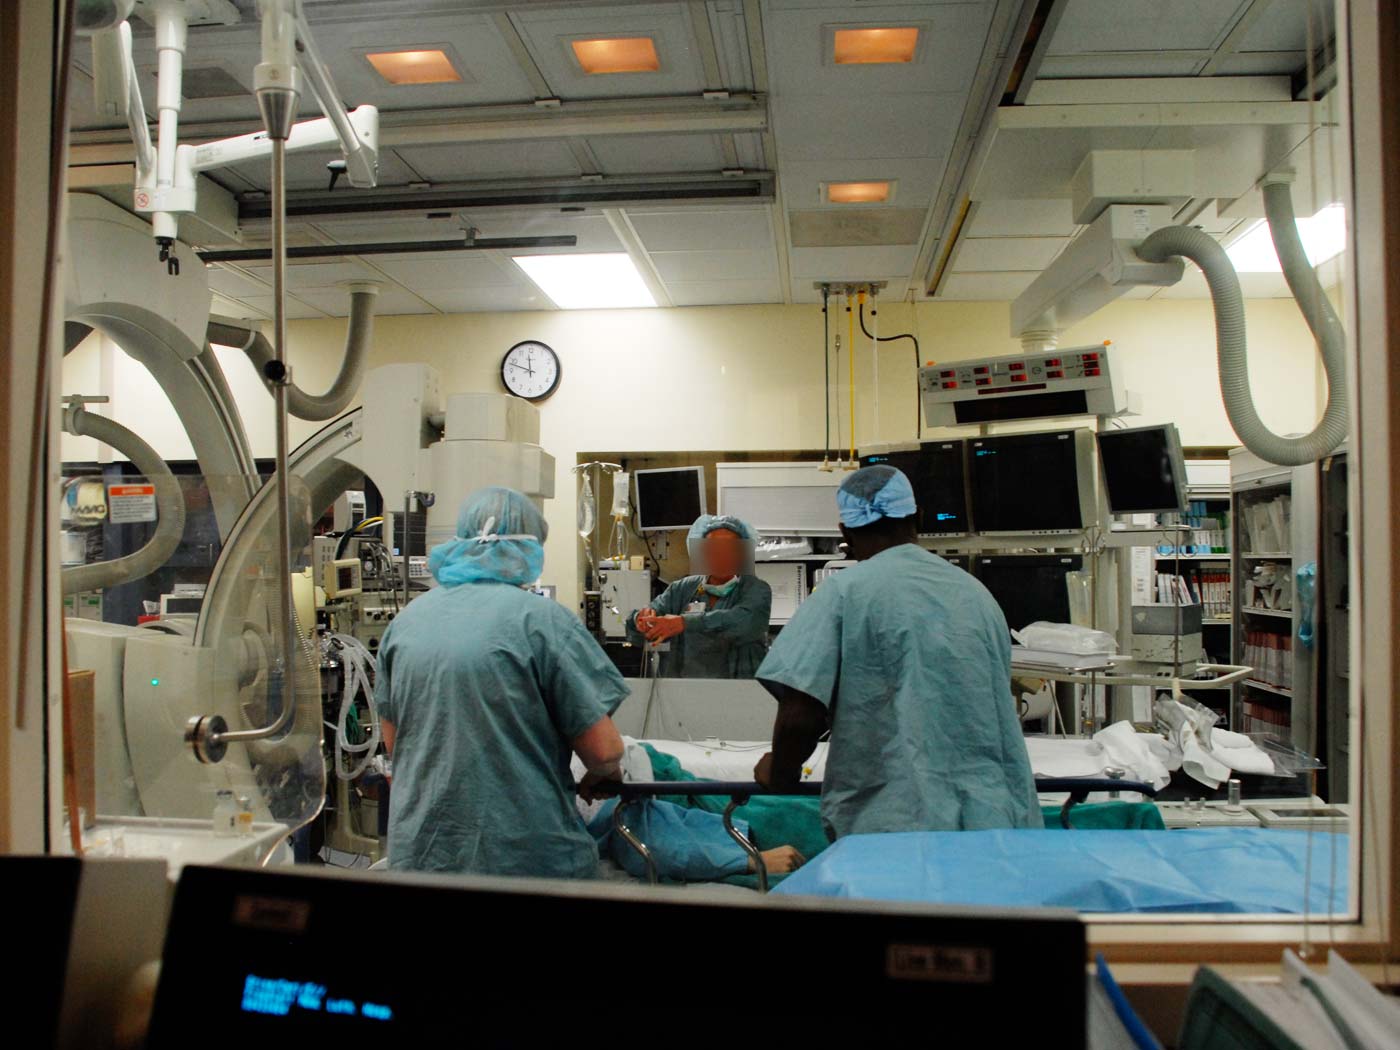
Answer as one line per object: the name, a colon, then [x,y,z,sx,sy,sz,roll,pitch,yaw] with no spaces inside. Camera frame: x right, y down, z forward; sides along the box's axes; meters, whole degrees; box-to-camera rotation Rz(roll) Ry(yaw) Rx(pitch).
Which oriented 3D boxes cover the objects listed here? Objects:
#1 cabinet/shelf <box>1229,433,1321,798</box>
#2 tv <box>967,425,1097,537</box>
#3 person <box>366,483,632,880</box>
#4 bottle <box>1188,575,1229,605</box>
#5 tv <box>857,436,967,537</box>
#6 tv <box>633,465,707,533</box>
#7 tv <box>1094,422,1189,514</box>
cabinet/shelf: [2.430,0.176,5.055,0.319,0.804,0.185,-5,-3,41]
tv: [1.158,-0.143,4.159,0.414,0.368,0.143,-1,8,38]
person: [-0.458,0.354,2.679,0.508,0.878,0.390,-1,-1,-26]
bottle: [2.562,0.318,5.926,0.053,0.136,0.136,16,-14,-36]
tv: [0.680,-0.115,3.676,0.339,0.331,0.114,-4,-3,41]
tv: [-0.165,-0.133,6.212,0.318,0.307,0.045,1,-1,17]
tv: [1.420,-0.180,3.791,0.096,0.273,0.269,-17,8,-36]
